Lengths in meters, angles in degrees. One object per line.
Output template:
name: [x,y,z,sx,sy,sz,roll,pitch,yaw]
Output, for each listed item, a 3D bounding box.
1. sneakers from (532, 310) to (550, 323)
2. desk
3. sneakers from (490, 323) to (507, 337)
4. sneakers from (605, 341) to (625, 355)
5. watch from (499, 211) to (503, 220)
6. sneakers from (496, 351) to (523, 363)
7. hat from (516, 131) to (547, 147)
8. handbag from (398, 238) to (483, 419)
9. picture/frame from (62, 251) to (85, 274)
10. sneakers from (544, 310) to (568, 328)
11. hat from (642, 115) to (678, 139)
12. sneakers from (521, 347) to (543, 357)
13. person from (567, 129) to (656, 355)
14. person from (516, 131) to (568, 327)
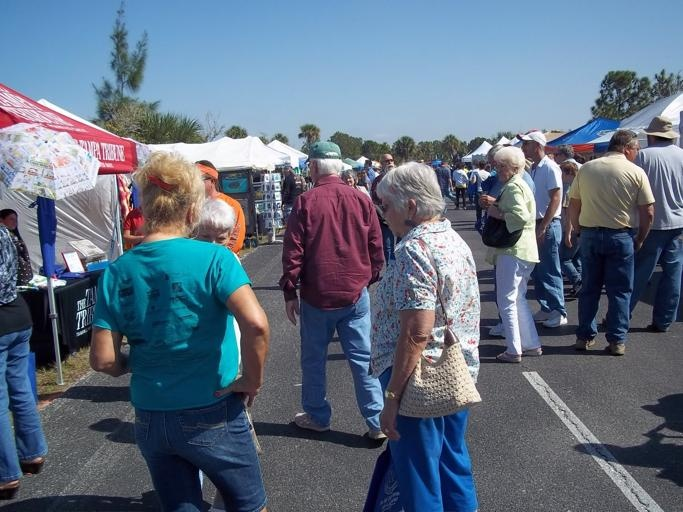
sneakers: [2.557,0.775,7.672,0.317,0.155,0.144,0,6,29]
desk: [-2.935,0.606,6.173,0.614,0.498,0.937,2,8,9]
sneakers: [1.871,0.873,7.243,0.116,0.117,0.258,-6,9,-3]
sneakers: [2.965,1.002,6.435,0.088,0.109,0.225,-4,13,12]
watch: [1.599,-0.416,6.015,0.036,0.055,0.013,9,-1,-29]
sneakers: [1.783,1.074,6.413,0.103,0.134,0.280,-6,8,-44]
hat: [2.295,-1.429,7.141,0.252,0.202,0.611,2,16,15]
handbag: [0.540,0.472,3.414,0.472,0.915,0.263,-3,14,-3]
picture/frame: [-3.479,0.080,7.760,0.034,0.358,0.258,-26,-9,30]
sneakers: [2.641,0.787,7.444,0.341,0.183,0.143,-3,0,-34]
hat: [3.698,-1.496,7.014,0.276,0.175,0.314,3,20,-1]
sneakers: [2.083,1.054,6.521,0.091,0.089,0.188,-5,7,-41]
person: [2.886,-0.033,6.540,0.844,2.112,0.593,5,15,28]
person: [2.324,-0.446,7.199,0.629,2.103,0.608,-1,-4,34]
